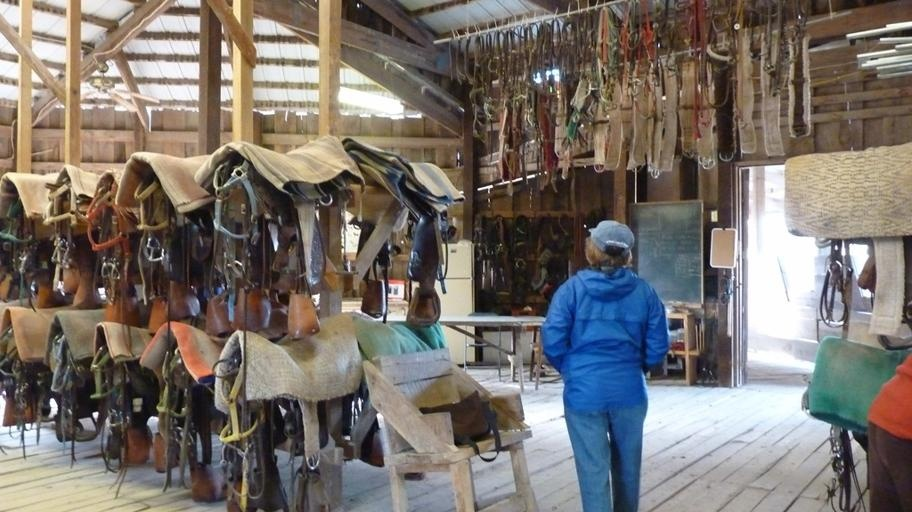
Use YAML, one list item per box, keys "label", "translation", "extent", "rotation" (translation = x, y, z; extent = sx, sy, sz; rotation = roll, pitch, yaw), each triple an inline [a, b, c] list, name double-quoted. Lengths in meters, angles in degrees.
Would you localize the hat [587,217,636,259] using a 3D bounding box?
- label: "hat"
  translation: [1.591, -0.198, 8.759]
  extent: [0.413, 0.329, 0.595]
  rotation: [9, 10, -1]
